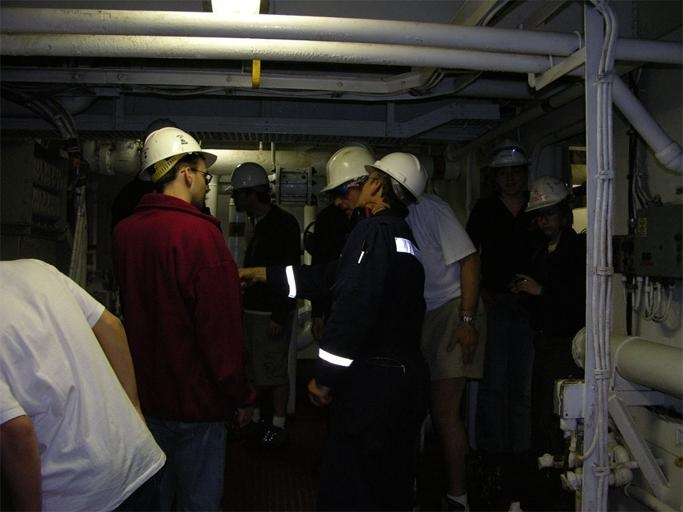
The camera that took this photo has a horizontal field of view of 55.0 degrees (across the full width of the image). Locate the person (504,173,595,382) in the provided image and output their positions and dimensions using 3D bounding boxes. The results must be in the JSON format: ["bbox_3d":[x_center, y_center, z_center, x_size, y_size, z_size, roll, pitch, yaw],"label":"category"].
[{"bbox_3d":[1.626,0.144,5.183,0.521,1.567,0.656,1,2,14],"label":"person"}]

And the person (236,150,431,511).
[{"bbox_3d":[0.194,0.417,4.085,0.688,2.143,0.834,1,2,7],"label":"person"}]

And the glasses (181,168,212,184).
[{"bbox_3d":[-0.885,-0.496,3.996,0.132,0.043,0.139,6,1,20],"label":"glasses"}]

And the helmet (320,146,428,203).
[{"bbox_3d":[0.243,-0.588,4.401,0.589,0.290,0.425,19,9,21],"label":"helmet"}]

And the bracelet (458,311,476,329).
[{"bbox_3d":[0.870,0.435,4.501,0.099,0.097,0.042,0,2,-6],"label":"bracelet"}]

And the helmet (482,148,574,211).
[{"bbox_3d":[1.473,-0.658,5.561,0.363,0.518,0.417,2,6,20],"label":"helmet"}]

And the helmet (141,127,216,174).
[{"bbox_3d":[-0.982,-0.657,3.962,0.359,0.213,0.278,-22,11,-40],"label":"helmet"}]

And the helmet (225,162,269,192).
[{"bbox_3d":[-0.833,-0.716,5.913,0.301,0.190,0.249,0,11,-10],"label":"helmet"}]
